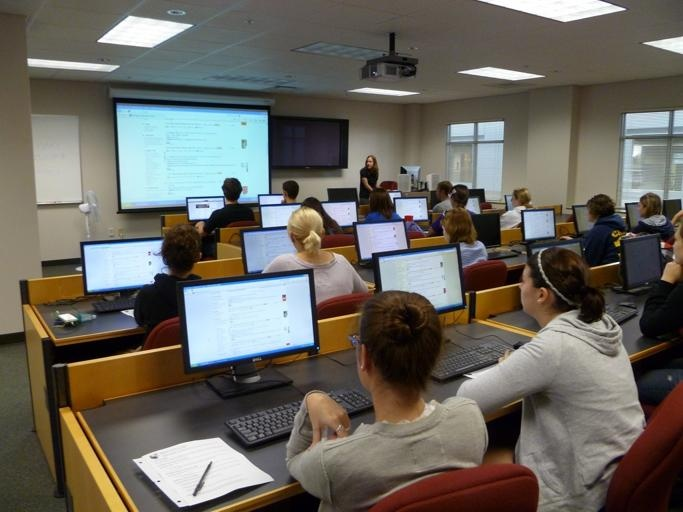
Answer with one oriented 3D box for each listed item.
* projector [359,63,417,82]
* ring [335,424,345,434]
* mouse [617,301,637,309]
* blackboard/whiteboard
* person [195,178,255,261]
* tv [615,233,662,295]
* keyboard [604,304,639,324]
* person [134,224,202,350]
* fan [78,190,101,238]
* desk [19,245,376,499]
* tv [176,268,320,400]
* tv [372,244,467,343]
[{"bbox_3d":[0.552,-2.170,5.802,0.639,0.201,0.412,-1,13,5],"label":"projector"},{"bbox_3d":[-0.003,0.495,1.416,0.017,0.012,0.024,-1,4,0],"label":"ring"},{"bbox_3d":[1.821,0.306,3.110,0.060,0.023,0.060,-3,6,-19],"label":"mouse"},{"bbox_3d":[-4.658,-1.576,8.133,0.770,1.486,0.183,-9,14,-30],"label":"blackboard/whiteboard"},{"bbox_3d":[-1.330,-0.365,6.000,0.540,0.896,0.532,2,-6,-16],"label":"person"},{"bbox_3d":[2.106,0.058,3.521,0.396,0.402,0.141,-9,3,-22],"label":"tv"},{"bbox_3d":[1.659,0.332,2.940,0.190,0.059,0.190,-10,15,-27],"label":"keyboard"},{"bbox_3d":[-0.892,0.291,2.636,0.362,0.918,0.295,5,9,-5],"label":"person"},{"bbox_3d":[-4.202,-0.659,8.246,0.313,0.860,0.753,-8,14,-27],"label":"fan"},{"bbox_3d":[-1.021,0.538,3.524,2.050,0.872,0.714,-11,18,-43],"label":"desk"},{"bbox_3d":[-0.367,0.309,2.052,0.605,0.475,0.195,-4,11,-33],"label":"tv"},{"bbox_3d":[0.420,0.148,2.583,0.545,0.398,0.081,-6,3,-28],"label":"tv"}]
